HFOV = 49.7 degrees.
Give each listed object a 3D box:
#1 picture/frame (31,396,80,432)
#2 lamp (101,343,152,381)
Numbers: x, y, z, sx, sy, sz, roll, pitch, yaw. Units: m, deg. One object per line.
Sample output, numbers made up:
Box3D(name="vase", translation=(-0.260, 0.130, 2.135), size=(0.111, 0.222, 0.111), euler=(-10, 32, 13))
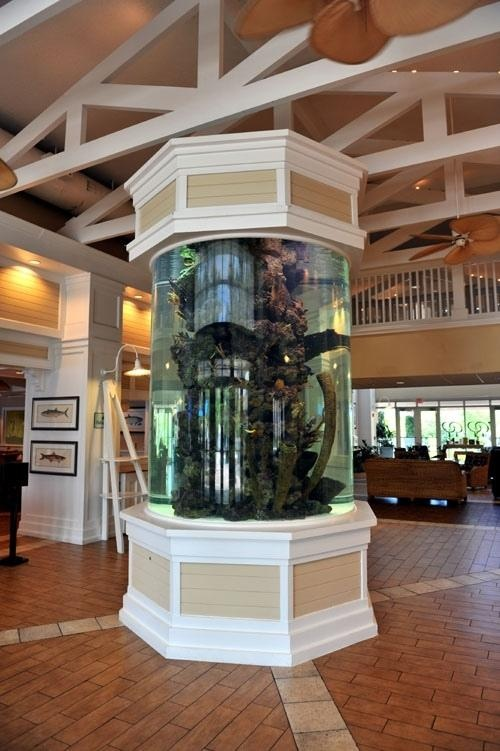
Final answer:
Box3D(name="picture/frame", translation=(-2.298, 0.453, 6.369), size=(0.798, 0.385, 0.030), euler=(-4, -9, 31))
Box3D(name="lamp", translation=(-1.590, -0.193, 6.884), size=(0.670, 0.441, 0.385), euler=(-10, -15, 32))
